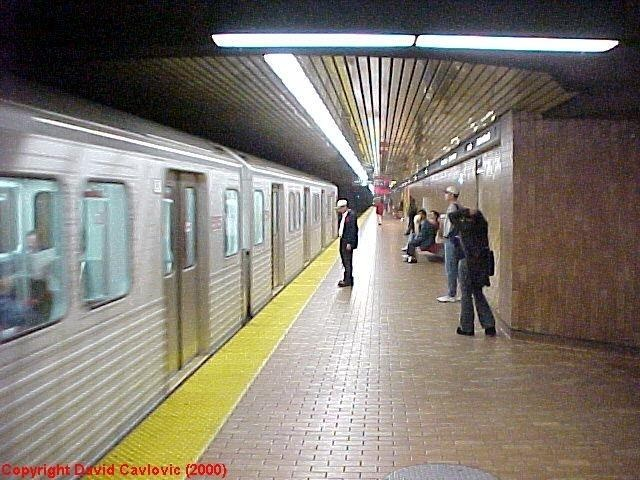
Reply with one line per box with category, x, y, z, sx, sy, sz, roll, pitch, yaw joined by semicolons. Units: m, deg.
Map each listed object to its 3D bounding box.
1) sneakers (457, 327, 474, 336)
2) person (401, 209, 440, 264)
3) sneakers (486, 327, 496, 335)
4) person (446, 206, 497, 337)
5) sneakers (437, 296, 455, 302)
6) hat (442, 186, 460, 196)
sneakers;2.085;1.340;6.701;0.088;0.102;0.228;0;6;-44
person;2.993;-0.076;13.970;0.909;1.564;1.717;-1;6;-8
sneakers;2.437;1.343;6.712;0.097;0.127;0.125;1;-2;-21
person;2.153;0.491;6.558;0.607;1.835;0.503;2;6;21
sneakers;2.364;1.145;8.758;0.309;0.138;0.115;6;-2;12
hat;2.170;-0.795;7.685;0.197;0.123;0.145;24;12;15
